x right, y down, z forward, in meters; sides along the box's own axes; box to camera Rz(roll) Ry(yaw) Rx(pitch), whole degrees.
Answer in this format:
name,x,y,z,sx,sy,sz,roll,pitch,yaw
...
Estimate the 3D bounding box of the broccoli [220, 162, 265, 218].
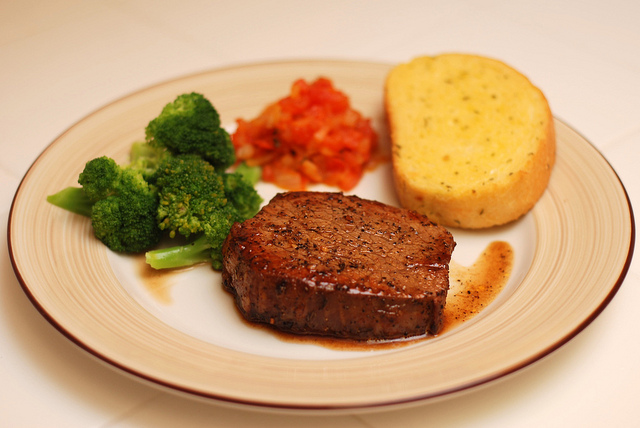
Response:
name,x,y,z,sx,sy,sz,roll,pitch,yaw
broccoli,-0.651,-0.187,5.062,0.340,0.418,0.289,-1,46,14
